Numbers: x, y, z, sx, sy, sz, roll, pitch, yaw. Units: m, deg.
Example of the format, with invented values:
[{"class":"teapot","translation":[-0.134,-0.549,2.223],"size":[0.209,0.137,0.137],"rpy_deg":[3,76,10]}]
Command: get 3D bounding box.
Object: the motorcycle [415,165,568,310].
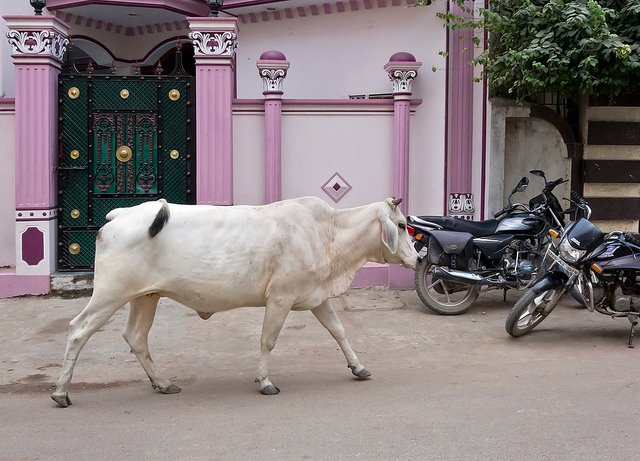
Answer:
[{"class":"motorcycle","translation":[2.525,0.213,11.027],"size":[2.673,1.915,1.496],"rpy_deg":[-10,8,-12]}]
